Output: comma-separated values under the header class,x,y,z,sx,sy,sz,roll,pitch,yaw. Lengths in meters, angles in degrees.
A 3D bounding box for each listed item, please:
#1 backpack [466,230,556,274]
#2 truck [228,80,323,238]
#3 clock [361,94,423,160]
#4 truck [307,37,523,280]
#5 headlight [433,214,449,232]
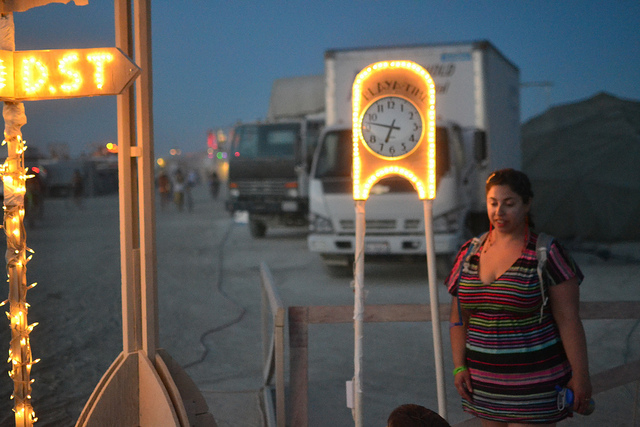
class,x,y,z,sx,sy,sz,roll,pitch,yaw
backpack,1.896,0.363,6.580,0.747,0.371,0.225,3,6,20
truck,-0.365,-1.146,14.253,1.784,2.504,3.956,2,5,23
clock,0.733,-0.906,7.141,0.561,0.656,0.051,-3,0,-4
truck,1.904,-0.669,13.003,2.983,4.366,5.722,-1,-10,23
headlight,1.951,0.200,10.910,0.344,0.366,0.091,0,23,15
